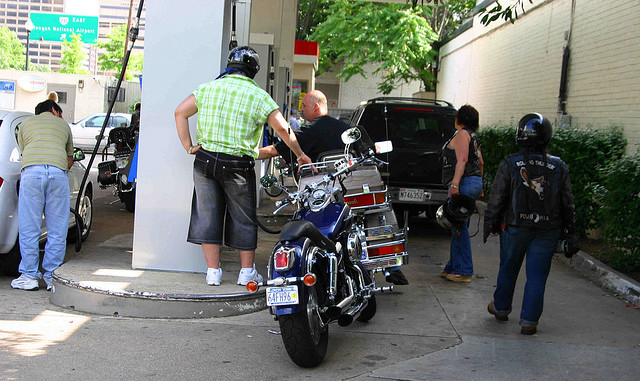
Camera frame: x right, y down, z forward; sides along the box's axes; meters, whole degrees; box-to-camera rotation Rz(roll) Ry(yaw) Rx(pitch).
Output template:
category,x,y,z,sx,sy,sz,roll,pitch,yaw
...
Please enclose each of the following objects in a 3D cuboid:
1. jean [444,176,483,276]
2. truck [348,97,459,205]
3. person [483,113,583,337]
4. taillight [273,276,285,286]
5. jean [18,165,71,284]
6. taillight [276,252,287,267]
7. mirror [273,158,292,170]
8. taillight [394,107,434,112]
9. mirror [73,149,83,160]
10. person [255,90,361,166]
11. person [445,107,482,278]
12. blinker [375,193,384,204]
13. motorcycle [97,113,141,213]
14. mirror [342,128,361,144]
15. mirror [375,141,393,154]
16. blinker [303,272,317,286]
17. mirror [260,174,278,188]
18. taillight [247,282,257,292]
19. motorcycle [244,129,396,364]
category,x,y,z,sx,sy,sz,roll,pitch,yaw
jean,2.380,0.625,8.227,0.581,1.705,0.537,3,12,1
truck,1.973,-1.015,11.232,1.710,1.482,2.808,0,9,2
person,2.740,0.423,6.512,0.953,2.781,0.730,14,16,43
taillight,-0.409,0.935,5.159,0.094,0.055,0.125,0,-6,-8
jean,-3.942,0.430,7.149,0.671,1.583,0.357,-3,13,-27
taillight,-0.384,0.711,5.135,0.161,0.203,0.027,1,-8,5
mirror,-0.483,-0.342,6.408,0.179,0.180,0.447,3,11,5
taillight,2.017,-1.727,10.670,0.824,0.066,0.063,1,11,-6
mirror,-3.737,-0.559,7.736,0.128,0.160,0.159,-2,12,-22
person,-0.083,-0.769,7.278,1.591,1.344,1.029,4,23,15
person,2.337,0.033,8.217,0.608,2.758,0.960,6,12,16
blinker,0.844,0.108,6.858,0.143,0.123,0.032,0,3,-21
motorcycle,-4.845,-0.687,12.229,0.772,2.422,1.547,-8,16,-42
mirror,0.376,-0.632,5.734,0.151,0.158,0.278,8,13,27
mirror,0.760,-0.523,5.974,0.187,0.151,0.340,3,11,5
blinker,-0.101,0.917,5.174,0.130,0.138,0.113,-6,14,-36
mirror,-0.578,-0.109,5.609,0.189,0.131,0.250,-1,12,-19
taillight,-0.721,1.035,5.377,0.101,0.137,0.151,1,11,-9
motorcycle,0.035,0.565,5.882,1.516,2.571,1.740,3,11,1
